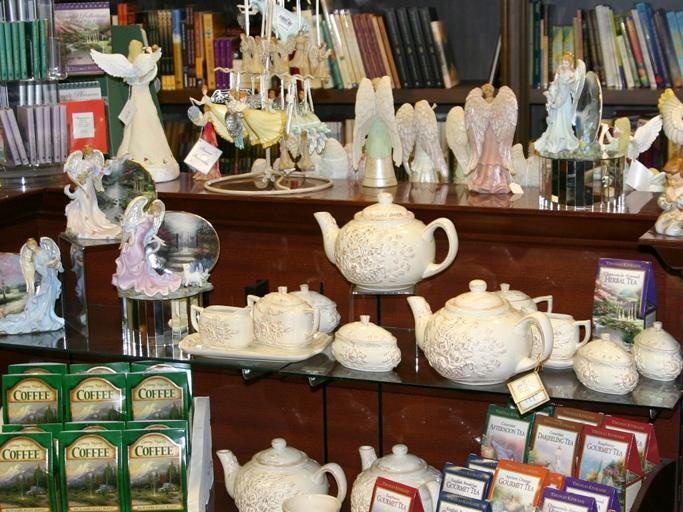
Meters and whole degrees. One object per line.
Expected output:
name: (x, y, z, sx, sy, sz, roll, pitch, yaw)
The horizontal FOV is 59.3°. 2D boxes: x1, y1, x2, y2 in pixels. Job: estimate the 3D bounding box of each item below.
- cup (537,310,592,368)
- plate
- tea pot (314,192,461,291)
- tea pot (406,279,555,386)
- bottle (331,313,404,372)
cup: (0.564, 0.218, 1.557, 0.150, 0.133, 0.115, -1, -9, 28)
plate: (-0.245, 0.246, 1.585, 0.224, 0.024, 0.146, 1, 6, 13)
tea pot: (0.125, -0.042, 1.607, 0.337, 0.223, 0.236, 6, 12, 16)
tea pot: (0.336, 0.156, 1.455, 0.299, 0.196, 0.205, 5, 9, 26)
bottle: (0.068, 0.220, 1.560, 0.190, 0.140, 0.159, 6, 7, 37)
